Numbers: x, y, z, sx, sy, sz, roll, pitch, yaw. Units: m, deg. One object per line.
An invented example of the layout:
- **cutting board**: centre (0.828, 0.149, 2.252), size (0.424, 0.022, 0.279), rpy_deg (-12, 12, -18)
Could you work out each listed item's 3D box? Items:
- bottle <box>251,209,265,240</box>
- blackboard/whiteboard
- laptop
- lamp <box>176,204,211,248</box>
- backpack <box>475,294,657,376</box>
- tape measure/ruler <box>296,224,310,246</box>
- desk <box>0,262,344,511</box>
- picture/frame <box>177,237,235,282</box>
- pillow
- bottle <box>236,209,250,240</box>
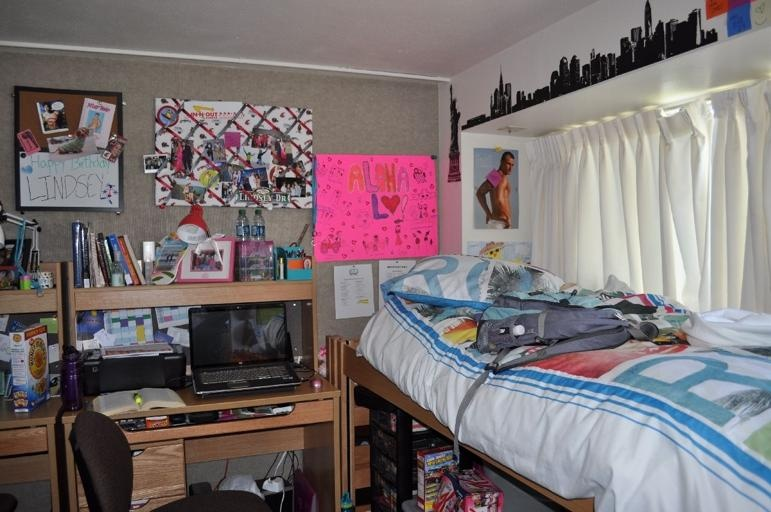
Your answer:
- **bottle**: centre (-0.839, -0.203, 3.444), size (0.091, 0.190, 0.157), rpy_deg (-5, 1, -12)
- **blackboard/whiteboard**: centre (-1.963, -0.653, 3.194), size (0.773, 0.971, 0.051), rpy_deg (-1, 4, -11)
- **laptop**: centre (-0.865, 0.608, 3.141), size (0.632, 0.489, 0.385), rpy_deg (-3, 21, -18)
- **lamp**: centre (-1.190, -0.206, 3.245), size (0.231, 0.252, 0.225), rpy_deg (9, -8, -18)
- **backpack**: centre (0.708, 0.322, 2.246), size (0.471, 0.127, 0.420), rpy_deg (3, 3, 0)
- **tape measure/ruler**: centre (-0.571, -0.146, 3.610), size (0.112, 0.130, 0.020), rpy_deg (-6, 2, -35)
- **desk**: centre (-1.243, 0.693, 2.925), size (1.575, 1.470, 0.597), rpy_deg (0, -3, -29)
- **picture/frame**: centre (-1.100, 0.026, 3.161), size (0.262, 0.286, 0.111), rpy_deg (-1, -4, -19)
- **pillow**: centre (0.628, 0.147, 3.066), size (1.039, 0.303, 0.876), rpy_deg (-2, -1, 37)
- **bottle**: centre (-0.935, -0.208, 3.427), size (0.092, 0.196, 0.151), rpy_deg (-5, 2, -14)
